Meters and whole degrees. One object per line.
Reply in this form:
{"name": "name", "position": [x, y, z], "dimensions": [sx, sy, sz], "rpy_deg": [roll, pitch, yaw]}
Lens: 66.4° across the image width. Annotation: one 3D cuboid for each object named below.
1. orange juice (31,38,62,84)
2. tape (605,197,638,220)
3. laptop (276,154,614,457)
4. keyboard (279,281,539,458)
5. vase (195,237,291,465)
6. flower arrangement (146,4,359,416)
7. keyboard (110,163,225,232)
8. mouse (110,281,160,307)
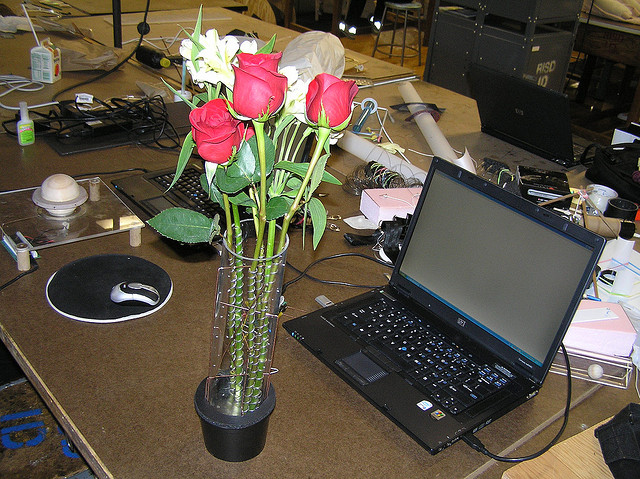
{"name": "orange juice", "position": [-1.074, -0.700, 1.908], "dimensions": [0.102, 0.145, 0.097], "rpy_deg": [1, 31, -21]}
{"name": "tape", "position": [0.845, -0.087, 1.365], "dimensions": [0.065, 0.048, 0.064], "rpy_deg": [5, 32, 7]}
{"name": "laptop", "position": [0.216, 0.090, 0.916], "dimensions": [0.400, 0.284, 0.435], "rpy_deg": [-16, 31, -23]}
{"name": "keyboard", "position": [0.163, 0.215, 0.929], "dimensions": [0.254, 0.062, 0.409], "rpy_deg": [-22, 43, -40]}
{"name": "vase", "position": [-0.123, 0.176, 0.715], "dimensions": [0.120, 0.359, 0.097], "rpy_deg": [5, 32, -5]}
{"name": "flower arrangement", "position": [-0.108, -0.045, 0.741], "dimensions": [0.264, 0.518, 0.341], "rpy_deg": [9, 32, 0]}
{"name": "keyboard", "position": [-0.413, -0.135, 1.299], "dimensions": [0.244, 0.037, 0.339], "rpy_deg": [-17, 41, -36]}
{"name": "mouse", "position": [-0.379, 0.114, 0.994], "dimensions": [0.082, 0.026, 0.048], "rpy_deg": [3, 31, -8]}
